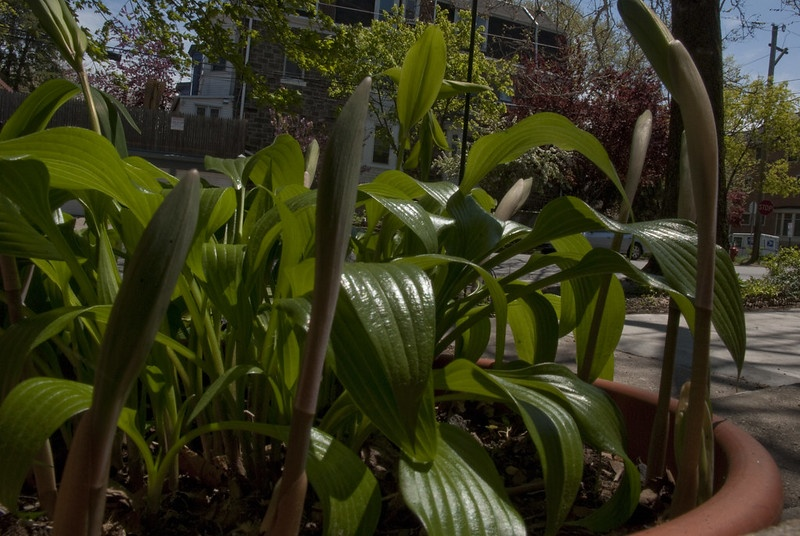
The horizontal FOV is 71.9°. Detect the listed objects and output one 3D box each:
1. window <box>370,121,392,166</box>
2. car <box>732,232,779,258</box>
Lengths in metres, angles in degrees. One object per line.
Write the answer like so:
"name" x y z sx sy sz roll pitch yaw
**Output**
"window" -0.560 -3.783 17.024 0.614 1.618 0.144 4 -25 1
"car" 12.044 -0.761 18.667 0.850 0.838 1.418 1 5 0
